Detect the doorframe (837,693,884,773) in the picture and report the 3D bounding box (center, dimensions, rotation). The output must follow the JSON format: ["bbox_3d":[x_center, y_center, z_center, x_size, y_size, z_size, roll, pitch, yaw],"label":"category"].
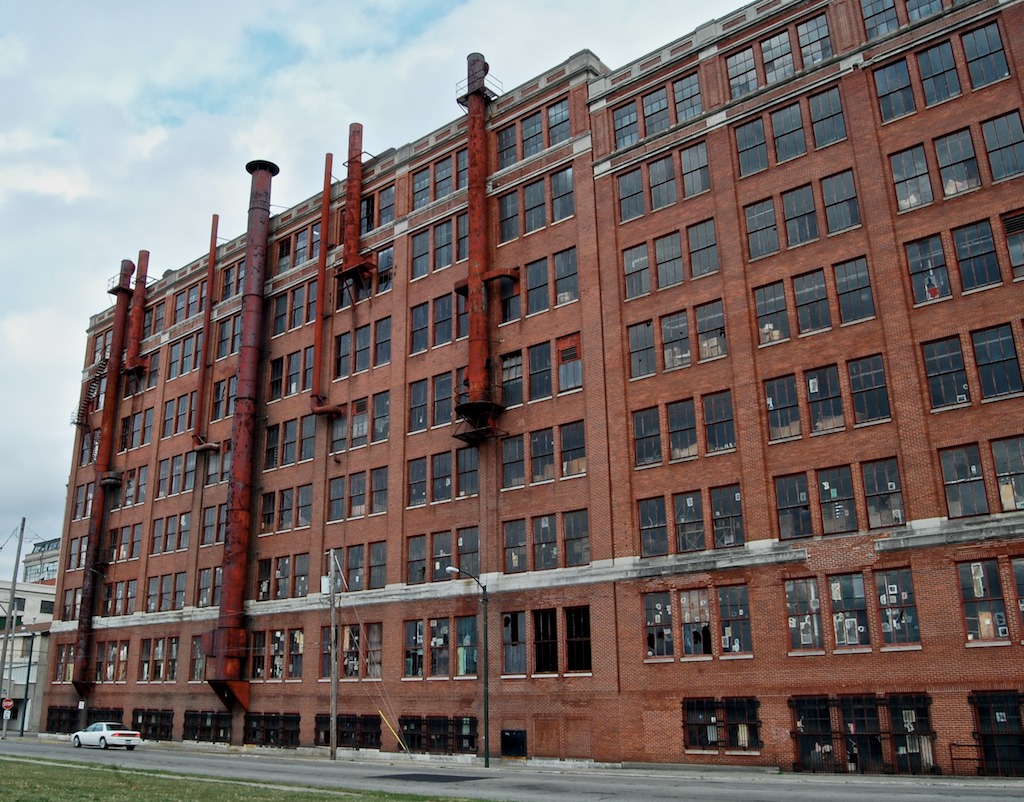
[{"bbox_3d":[15.488,14.892,40.060,2.266,4.252,0.270,-23,-33,38],"label":"doorframe"}]

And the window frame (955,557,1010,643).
[{"bbox_3d":[20.186,8.543,38.831,1.492,3.599,0.249,-9,-2,24],"label":"window frame"}]

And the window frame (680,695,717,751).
[{"bbox_3d":[9.141,15.871,44.199,2.386,3.141,0.170,-7,-14,33],"label":"window frame"}]

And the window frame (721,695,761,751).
[{"bbox_3d":[10.925,15.482,43.055,2.101,2.748,0.431,-18,-35,36],"label":"window frame"}]

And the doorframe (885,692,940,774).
[{"bbox_3d":[17.196,14.428,39.057,1.724,3.488,0.281,-7,3,21],"label":"doorframe"}]

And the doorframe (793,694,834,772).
[{"bbox_3d":[13.676,15.194,41.199,1.609,3.096,0.648,-8,-22,19],"label":"doorframe"}]
